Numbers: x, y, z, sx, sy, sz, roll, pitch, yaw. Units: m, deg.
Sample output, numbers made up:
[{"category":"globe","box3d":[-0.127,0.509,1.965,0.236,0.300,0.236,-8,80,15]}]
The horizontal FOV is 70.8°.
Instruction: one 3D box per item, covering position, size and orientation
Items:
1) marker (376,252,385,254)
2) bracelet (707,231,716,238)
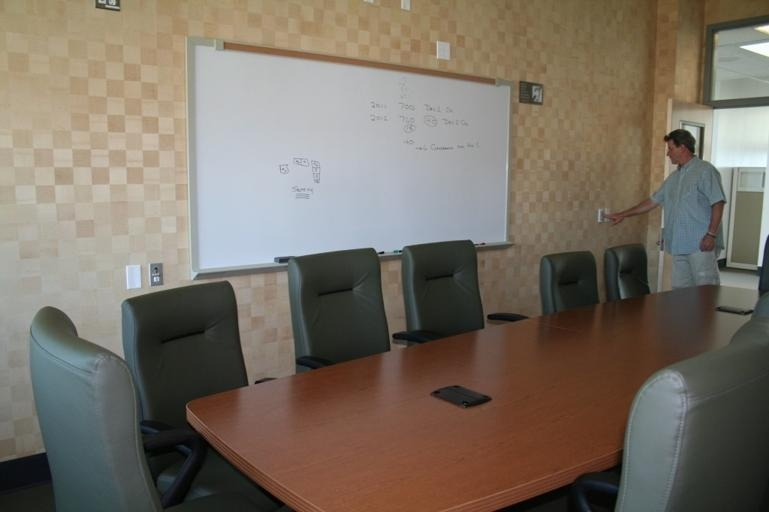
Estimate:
[{"category":"marker","box3d":[-0.042,-0.028,4.778,0.021,0.022,0.078,1,-3,39]},{"category":"bracelet","box3d":[3.149,-0.203,5.205,0.065,0.033,0.045,33,-25,-28]}]
